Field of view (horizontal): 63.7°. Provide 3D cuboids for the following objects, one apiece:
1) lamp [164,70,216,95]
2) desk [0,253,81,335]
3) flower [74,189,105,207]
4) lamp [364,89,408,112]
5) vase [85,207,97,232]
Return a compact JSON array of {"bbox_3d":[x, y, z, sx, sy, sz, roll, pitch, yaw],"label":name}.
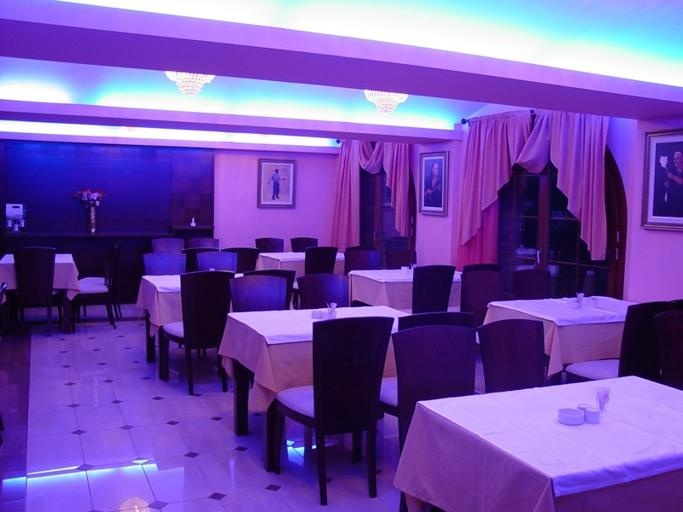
[{"bbox_3d":[-1.757,-2.049,6.426,0.397,0.218,0.651,-2,8,-30],"label":"lamp"},{"bbox_3d":[-4.233,0.404,7.990,1.170,1.113,1.234,0,0,-13],"label":"desk"},{"bbox_3d":[-4.456,-1.016,9.752,0.458,0.321,0.291,-2,8,-29],"label":"flower"},{"bbox_3d":[0.567,-2.022,7.206,0.497,0.239,0.532,2,7,15],"label":"lamp"},{"bbox_3d":[-4.443,-0.657,9.813,0.171,0.466,0.168,-3,8,-29],"label":"vase"}]
